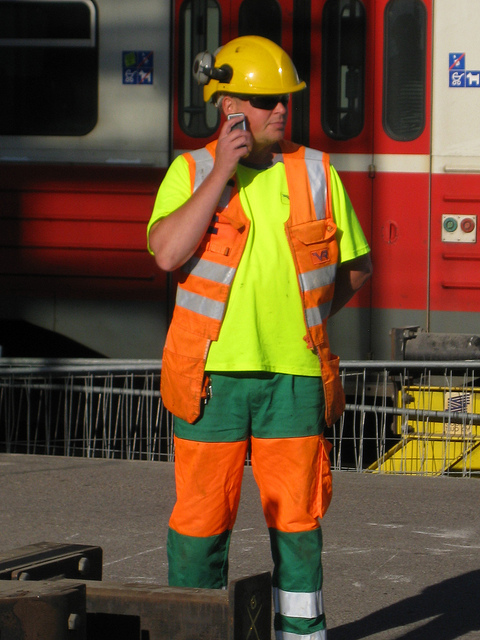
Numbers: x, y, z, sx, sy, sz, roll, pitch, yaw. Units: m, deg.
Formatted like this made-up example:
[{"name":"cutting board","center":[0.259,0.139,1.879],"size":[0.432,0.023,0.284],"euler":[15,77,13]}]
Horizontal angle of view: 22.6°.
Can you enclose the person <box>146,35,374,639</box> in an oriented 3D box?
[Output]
[{"name":"person","center":[0.055,0.037,3.864],"size":[0.692,1.890,0.437],"euler":[1,5,1]}]

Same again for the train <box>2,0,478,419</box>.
[{"name":"train","center":[0.125,-0.706,6.699],"size":[2.485,2.496,0.924],"euler":[0,0,9]}]
